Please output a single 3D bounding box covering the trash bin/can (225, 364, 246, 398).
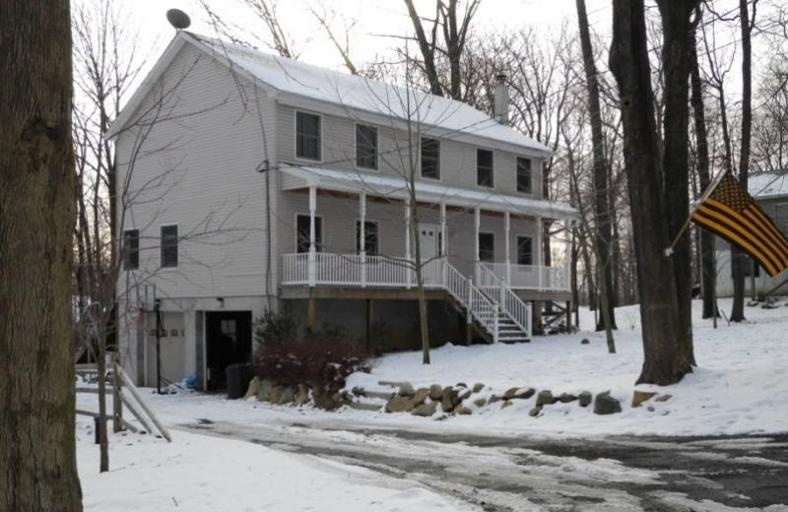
[{"bbox_3d":[-4.744,3.804,27.391,0.698,1.031,0.377,-7,-9,28],"label":"trash bin/can"}]
